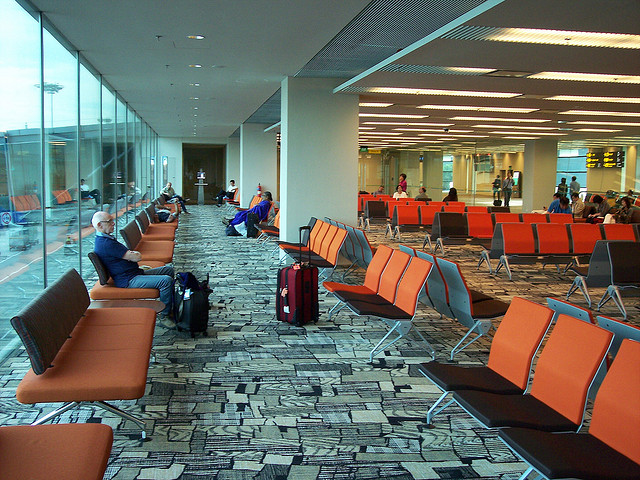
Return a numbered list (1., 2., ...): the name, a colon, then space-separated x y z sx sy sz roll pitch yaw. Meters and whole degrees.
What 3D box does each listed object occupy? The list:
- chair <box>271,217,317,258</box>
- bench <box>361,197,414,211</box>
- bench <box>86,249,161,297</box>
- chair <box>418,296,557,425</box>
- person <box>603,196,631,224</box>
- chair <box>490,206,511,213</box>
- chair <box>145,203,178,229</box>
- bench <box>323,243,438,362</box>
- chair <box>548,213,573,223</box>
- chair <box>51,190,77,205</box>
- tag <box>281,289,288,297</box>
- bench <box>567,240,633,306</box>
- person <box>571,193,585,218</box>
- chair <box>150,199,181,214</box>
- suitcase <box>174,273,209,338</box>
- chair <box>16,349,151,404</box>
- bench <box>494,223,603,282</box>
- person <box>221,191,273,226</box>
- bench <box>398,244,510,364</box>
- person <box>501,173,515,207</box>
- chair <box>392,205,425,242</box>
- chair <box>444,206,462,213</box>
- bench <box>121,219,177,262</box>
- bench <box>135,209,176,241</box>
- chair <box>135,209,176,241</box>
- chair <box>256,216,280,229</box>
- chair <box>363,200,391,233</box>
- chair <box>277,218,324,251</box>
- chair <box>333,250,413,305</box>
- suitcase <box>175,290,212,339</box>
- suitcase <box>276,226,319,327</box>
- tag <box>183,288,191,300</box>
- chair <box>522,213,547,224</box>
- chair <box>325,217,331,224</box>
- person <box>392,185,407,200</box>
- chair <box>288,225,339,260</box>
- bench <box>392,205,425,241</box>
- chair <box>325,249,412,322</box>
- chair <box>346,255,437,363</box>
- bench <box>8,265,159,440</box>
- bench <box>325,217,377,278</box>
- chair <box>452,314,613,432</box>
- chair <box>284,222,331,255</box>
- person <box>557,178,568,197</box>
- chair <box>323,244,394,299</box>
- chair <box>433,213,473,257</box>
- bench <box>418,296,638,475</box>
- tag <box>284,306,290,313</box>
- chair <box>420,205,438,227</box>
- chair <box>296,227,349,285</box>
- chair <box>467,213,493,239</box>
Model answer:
1. chair: -0.368 -0.178 9.140 0.908 0.818 0.678 6 6 -19
2. bench: 2.370 -1.266 15.512 1.351 0.332 0.373 0 2 -17
3. bench: -2.500 0.408 5.581 0.855 0.342 0.696 0 5 -9
4. chair: 1.257 0.963 3.555 1.185 0.650 0.628 -9 3 -12
5. person: 7.579 -0.771 11.182 0.425 0.627 0.993 13 15 38
6. chair: 5.987 -1.023 14.581 0.707 0.313 0.299 0 1 -10
7. chair: -4.664 -0.707 12.958 0.845 0.360 1.530 0 7 -16
8. bench: 0.655 0.688 5.626 1.122 0.882 1.719 -12 11 -12
9. chair: 6.193 -0.554 11.352 0.435 0.283 0.187 1 12 -1
10. chair: -4.270 -0.706 7.345 0.298 0.125 0.250 0 6 -1
11. tag: -0.484 0.717 5.991 0.044 0.086 0.063 20 0 -5
12. bench: 4.653 0.548 7.356 1.034 0.841 1.014 -4 -10 40
13. person: 8.246 -1.064 14.100 0.377 0.768 1.578 10 13 29
14. chair: -6.512 -1.297 18.039 1.509 0.650 1.251 -1 8 -9
15. suitcase: -1.650 0.811 5.590 0.409 0.788 0.287 3 13 2
16. chair: -1.817 1.097 3.472 0.866 0.282 0.556 -1 10 -12
17. bench: 4.818 0.155 8.997 2.695 0.852 0.685 -1 26 -18
18. person: -1.992 -1.007 14.029 1.019 1.110 1.617 -9 15 -43
19. bench: 1.653 0.673 5.597 0.978 0.894 1.820 5 3 -9
20. person: 9.483 -2.574 22.242 0.585 1.585 1.315 8 13 20
21. chair: 2.797 -0.548 13.259 1.208 0.718 0.645 -5 29 -38
22. chair: 4.270 -0.992 14.168 0.541 0.207 0.159 1 -2 -31
23. bench: -3.067 0.111 7.967 0.967 0.451 1.663 0 8 -13
24. bench: -3.852 -0.306 10.249 0.878 0.380 1.823 5 4 -23
25. chair: -3.851 -0.229 10.327 0.919 0.427 1.807 5 -2 -20
26. chair: -1.378 -0.439 11.896 0.323 0.224 0.386 6 -3 -23
27. chair: 2.007 -0.822 15.037 1.063 0.854 0.766 -1 19 -1
28. chair: -0.315 -0.111 8.755 0.919 0.397 0.731 2 5 -15
29. chair: 0.537 0.457 5.613 1.054 0.487 0.839 -6 12 -12
30. suitcase: -1.611 0.908 5.576 0.385 0.612 0.273 -1 13 -15
31. suitcase: -0.287 0.737 6.027 0.593 0.848 0.289 2 13 -2
32. tag: -1.654 0.664 5.493 0.158 0.114 0.040 2 -8 38
33. chair: 5.528 -0.554 11.358 0.501 0.218 0.232 0 2 -9
34. chair: 0.163 -0.388 8.804 0.161 0.108 0.139 -1 10 -17
35. person: 3.191 -1.900 17.437 0.452 0.520 1.050 4 10 9
36. chair: -0.141 0.081 7.841 0.770 0.430 1.130 1 3 -17
37. bench: 2.875 -0.529 13.228 1.314 0.729 0.680 -4 18 -28
38. chair: 0.537 0.592 5.616 0.997 0.834 0.789 -8 15 -24
39. chair: 0.689 0.686 5.279 1.213 0.836 1.151 -9 13 -7
40. bench: -2.016 0.986 3.835 0.812 0.511 1.487 2 8 -13
41. bench: 0.552 0.166 8.306 0.920 0.612 1.663 -2 6 -17
42. chair: 1.424 0.940 3.091 1.023 0.479 0.581 -8 2 -7
43. chair: -0.129 -0.042 8.312 0.896 0.400 0.718 2 8 -18
44. person: 13.067 -2.879 23.654 0.493 0.869 1.481 9 13 27
45. chair: 0.555 0.499 5.739 1.084 0.523 0.572 -10 20 -22
46. chair: 3.223 -0.203 11.023 1.381 0.888 0.905 -1 11 -15
47. bench: 1.532 1.112 3.350 0.974 0.615 1.422 -3 5 -7
48. tag: -0.446 0.936 6.023 0.057 0.102 0.144 -2 2 -36
49. chair: 3.265 -0.713 13.618 0.763 0.658 0.883 0 3 23
50. chair: -0.173 0.189 7.661 0.915 0.815 1.076 -14 25 -23
51. chair: 3.931 -0.374 11.316 0.989 0.629 0.678 -1 2 -11
